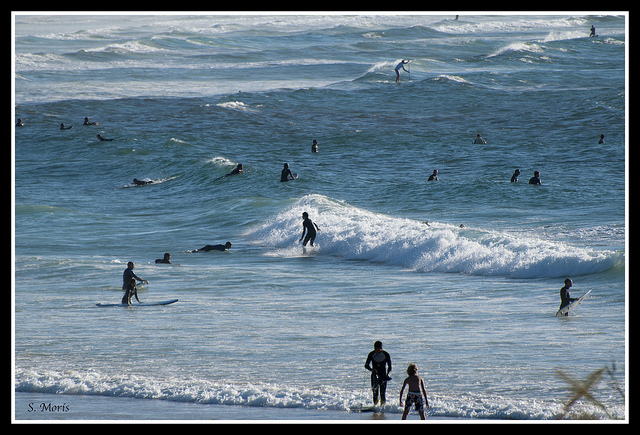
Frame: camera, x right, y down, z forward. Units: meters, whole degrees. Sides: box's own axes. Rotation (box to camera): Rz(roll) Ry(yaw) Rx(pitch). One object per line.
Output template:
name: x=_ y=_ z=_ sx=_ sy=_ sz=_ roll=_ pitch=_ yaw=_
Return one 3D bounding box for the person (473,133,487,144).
person: x=12.924 y=-6.251 z=117.939 sx=1.185 sy=0.701 sz=1.118 roll=1 pitch=-42 yaw=12

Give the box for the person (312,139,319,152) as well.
person: x=-0.472 y=-5.579 z=116.263 sx=0.617 sy=0.888 sz=0.459 roll=8 pitch=3 yaw=32

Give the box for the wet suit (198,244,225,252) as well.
wet suit: x=-6.925 y=2.226 z=92.775 sx=1.516 sy=0.526 sz=0.241 roll=0 pitch=-48 yaw=-5

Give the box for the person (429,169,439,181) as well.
person: x=8.325 y=-2.883 z=106.524 sx=0.840 sy=0.352 sz=1.290 roll=6 pitch=-10 yaw=-14

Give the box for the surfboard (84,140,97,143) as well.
surfboard: x=-19.200 y=-6.139 z=120.779 sx=1.173 sy=0.174 sz=0.210 roll=3 pitch=-22 yaw=36

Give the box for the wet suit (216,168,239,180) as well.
wet suit: x=-6.964 y=-3.032 z=108.707 sx=1.721 sy=0.354 sz=0.434 roll=-19 pitch=-60 yaw=1

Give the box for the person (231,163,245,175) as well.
person: x=-6.185 y=-3.488 z=109.016 sx=0.594 sy=0.948 sz=0.313 roll=8 pitch=-74 yaw=13

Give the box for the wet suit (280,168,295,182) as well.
wet suit: x=-2.474 y=-2.896 z=106.787 sx=1.033 sy=0.621 sz=1.013 roll=16 pitch=-51 yaw=15

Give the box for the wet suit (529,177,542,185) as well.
wet suit: x=15.397 y=-2.482 z=104.030 sx=0.891 sy=0.461 sz=0.711 roll=9 pitch=-73 yaw=22

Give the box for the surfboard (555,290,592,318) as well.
surfboard: x=14.433 y=5.259 z=82.853 sx=3.294 sy=0.399 sz=0.234 roll=-25 pitch=-6 yaw=-22
